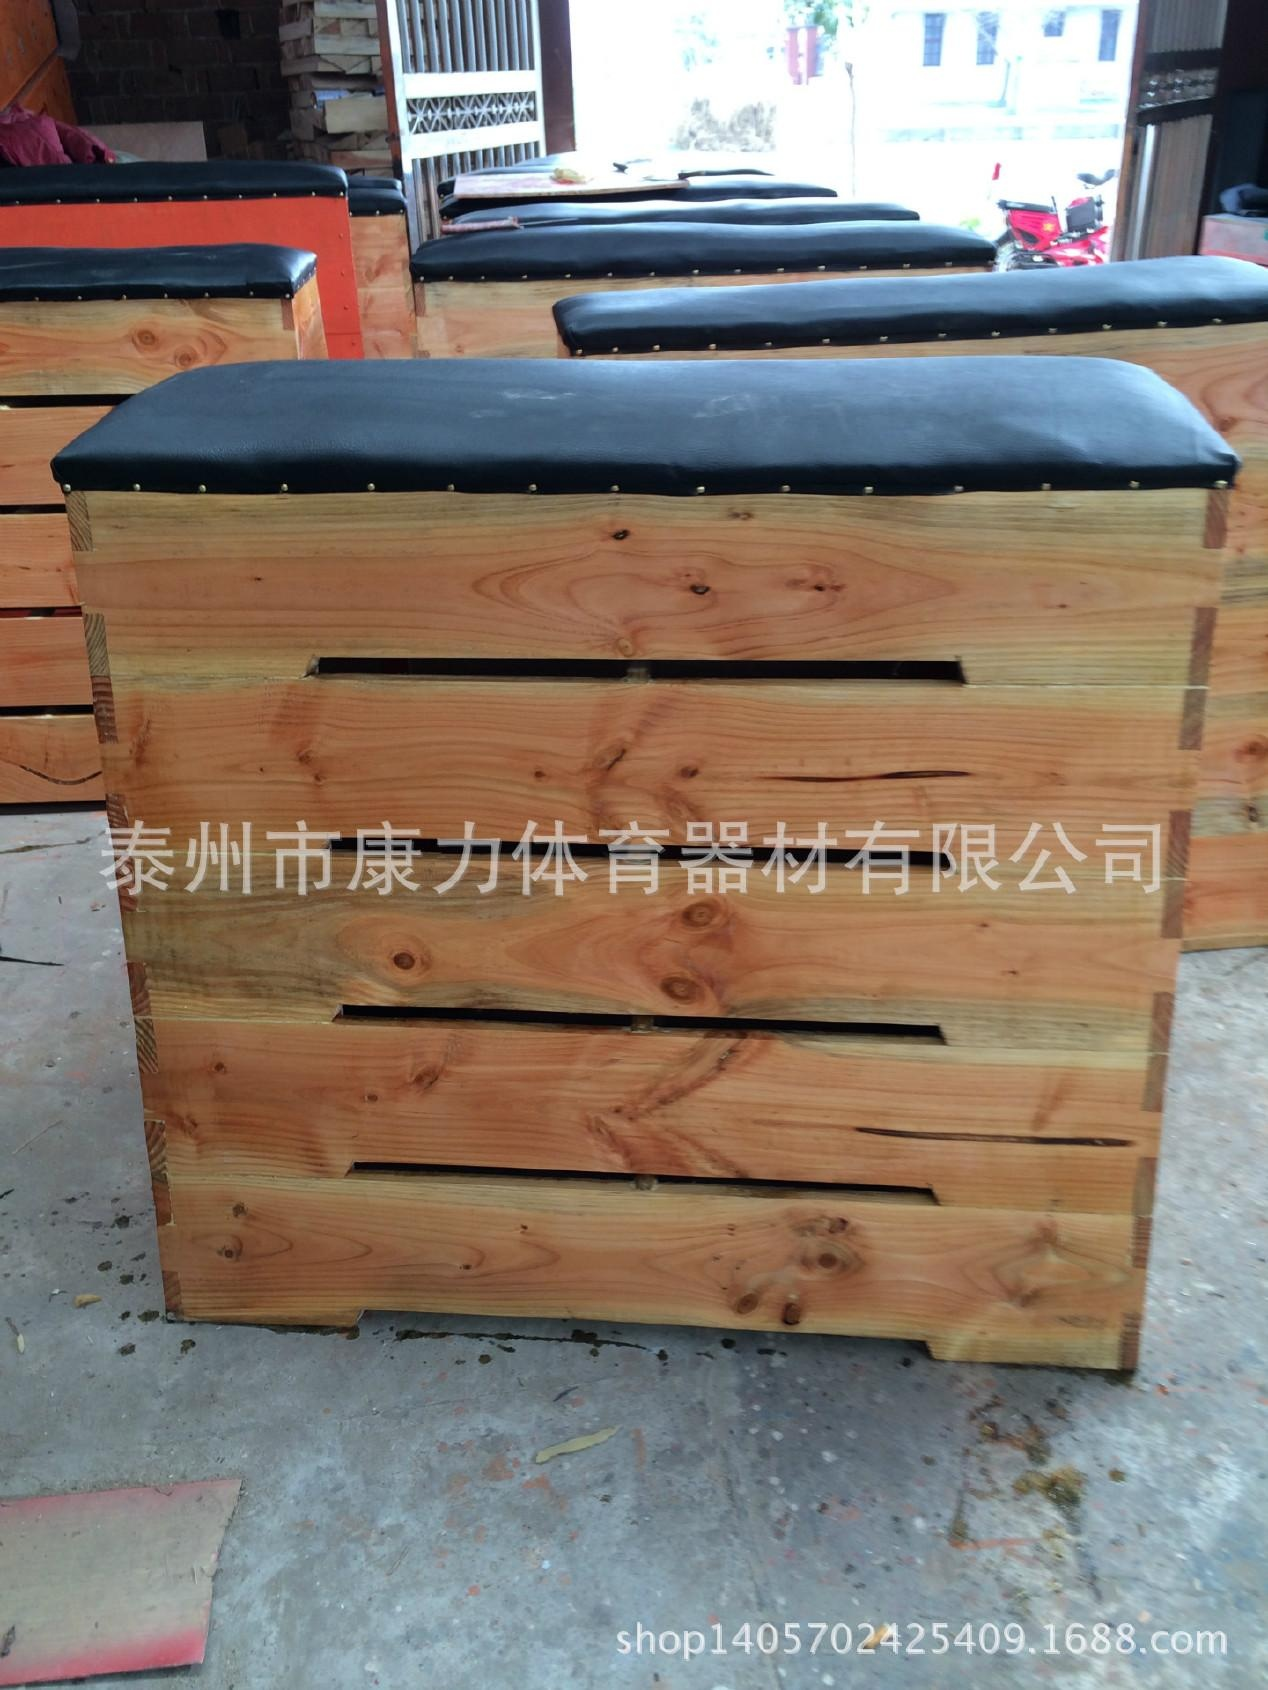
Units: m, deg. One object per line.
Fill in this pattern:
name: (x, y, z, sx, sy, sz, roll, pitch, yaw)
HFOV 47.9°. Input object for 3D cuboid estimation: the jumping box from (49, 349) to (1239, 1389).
jumping box: (0.131, 0.066, 1.903, 1.332, 0.965, 0.676, 0, 2, 25)
